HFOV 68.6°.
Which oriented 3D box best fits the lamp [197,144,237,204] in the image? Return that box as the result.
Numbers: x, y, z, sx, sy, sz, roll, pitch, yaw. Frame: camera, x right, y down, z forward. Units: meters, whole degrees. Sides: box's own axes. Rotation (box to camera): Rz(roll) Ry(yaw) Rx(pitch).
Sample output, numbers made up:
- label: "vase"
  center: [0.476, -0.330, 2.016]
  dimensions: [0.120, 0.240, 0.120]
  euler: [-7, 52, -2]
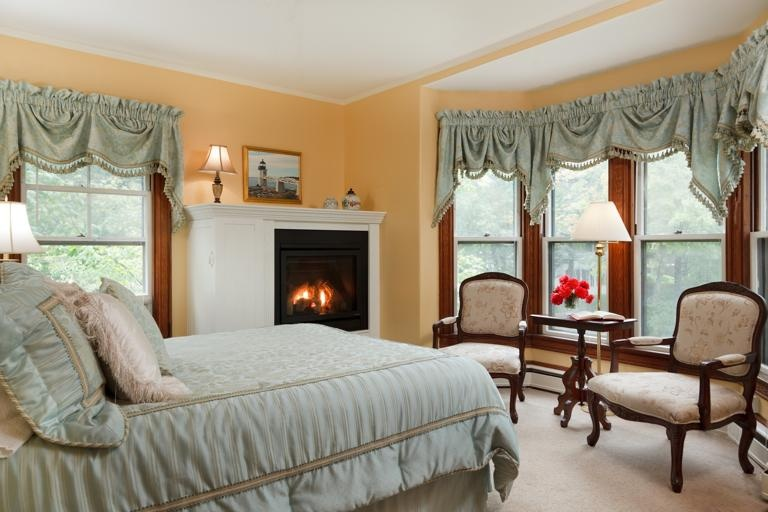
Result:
- label: "lamp"
  center: [-1.742, -0.839, 5.881]
  dimensions: [0.438, 0.607, 0.436]
  euler: [0, 0, 17]

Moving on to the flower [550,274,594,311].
- label: "flower"
  center: [1.776, 0.361, 5.368]
  dimensions: [0.363, 0.364, 0.368]
  euler: [-3, -5, 9]

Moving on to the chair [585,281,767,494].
- label: "chair"
  center: [2.262, 0.922, 4.322]
  dimensions: [1.066, 1.354, 0.824]
  euler: [-4, 11, -18]

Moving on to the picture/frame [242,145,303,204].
- label: "picture/frame"
  center: [-1.276, -0.927, 6.340]
  dimensions: [0.723, 0.690, 0.050]
  euler: [0, 3, -32]
